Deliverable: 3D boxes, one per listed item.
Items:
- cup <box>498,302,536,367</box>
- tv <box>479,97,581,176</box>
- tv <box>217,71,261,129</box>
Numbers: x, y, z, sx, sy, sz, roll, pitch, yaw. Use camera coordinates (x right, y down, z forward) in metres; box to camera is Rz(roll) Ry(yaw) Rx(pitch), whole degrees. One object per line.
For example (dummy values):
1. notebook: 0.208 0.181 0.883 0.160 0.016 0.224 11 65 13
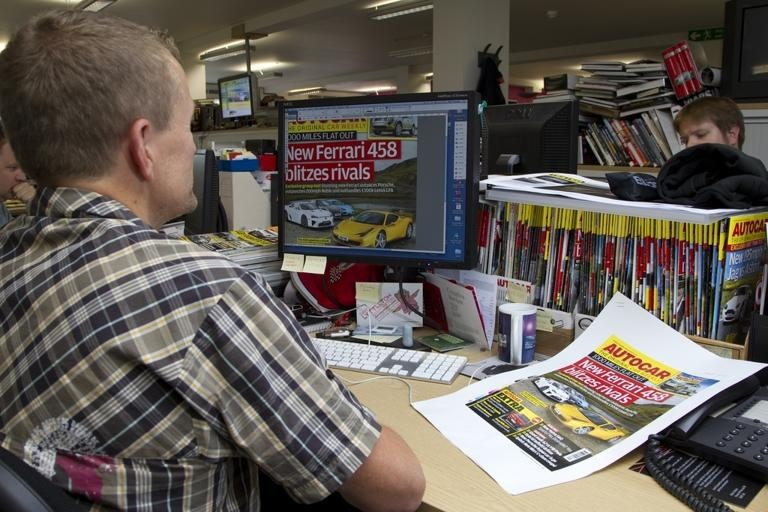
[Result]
1. cup: 0.343 0.208 1.331 0.108 0.124 0.155 2 4 7
2. tv: 0.546 -0.421 2.111 0.167 0.385 0.439 -21 25 -34
3. tv: -1.796 -1.926 6.543 0.152 0.672 0.877 -13 18 -41
